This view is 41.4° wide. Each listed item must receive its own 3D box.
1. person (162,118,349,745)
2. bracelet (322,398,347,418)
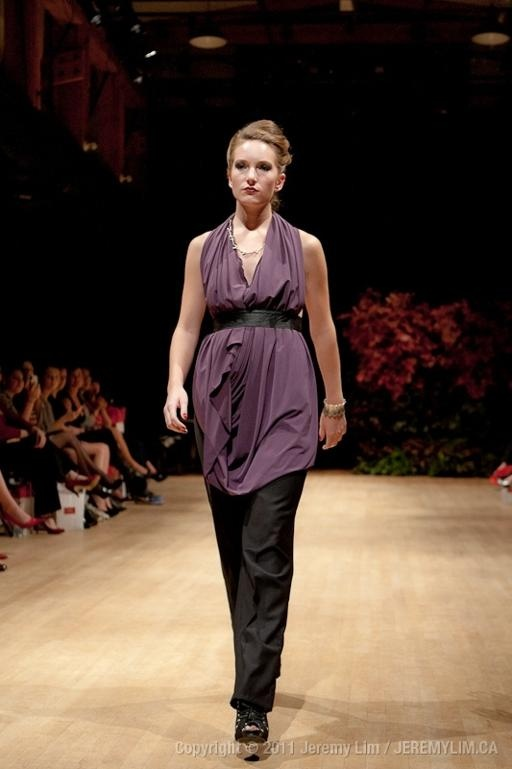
[{"bbox_3d":[-0.011,0.030,1.239,0.337,1.072,0.384,-4,-4,6],"label":"person"},{"bbox_3d":[0.166,0.049,1.410,0.039,0.025,0.038,1,-7,1],"label":"bracelet"}]
